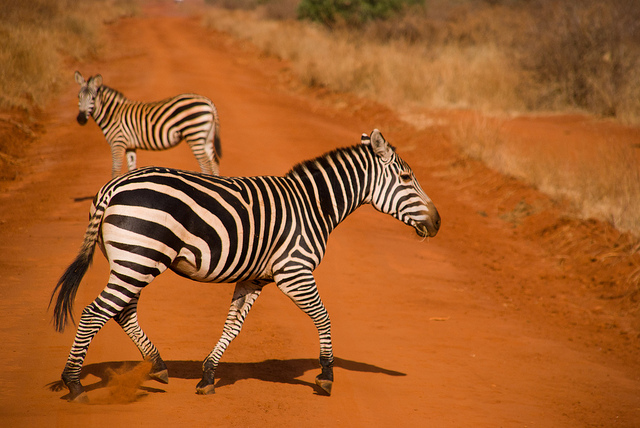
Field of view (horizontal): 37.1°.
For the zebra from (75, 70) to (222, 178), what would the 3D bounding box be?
[{"bbox_3d":[-4.667,-2.157,25.923,4.020,1.191,2.924,3,97,9],"label":"zebra"}]
